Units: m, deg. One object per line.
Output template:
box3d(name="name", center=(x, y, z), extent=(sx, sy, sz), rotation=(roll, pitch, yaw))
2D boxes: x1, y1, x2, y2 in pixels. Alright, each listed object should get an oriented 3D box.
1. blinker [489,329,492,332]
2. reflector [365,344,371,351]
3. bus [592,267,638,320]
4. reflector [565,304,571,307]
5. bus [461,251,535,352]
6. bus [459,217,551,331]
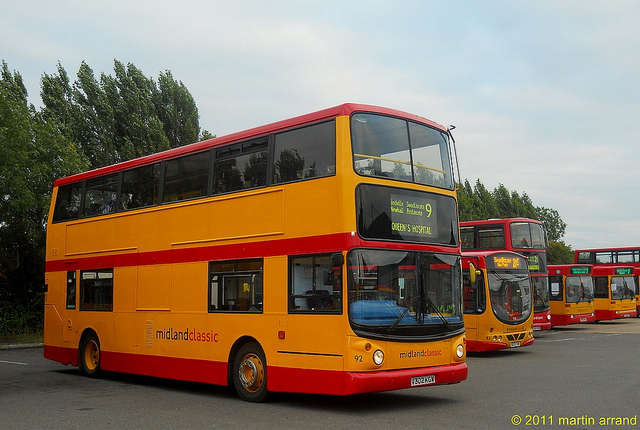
box3d(name="blinker", center=(6.989, 4.706, 19.380), extent=(0.097, 0.102, 0.030), rotation=(-1, -9, -4))
box3d(name="reflector", center=(0.987, 2.686, 9.685), extent=(0.135, 0.113, 0.020), rotation=(4, -10, -30))
box3d(name="bus", center=(22.309, 5.861, 35.969), extent=(3.656, 3.824, 1.261), rotation=(3, -10, -26))
box3d(name="reflector", center=(15.917, 5.808, 30.511), extent=(0.408, 0.173, 0.123), rotation=(3, -10, -26))
box3d(name="bus", center=(6.992, 4.284, 23.763), extent=(2.787, 4.214, 8.595), rotation=(3, -13, -12))
box3d(name="bus", center=(8.501, 2.686, 21.809), extent=(3.442, 5.683, 6.182), rotation=(2, -3, 3))
